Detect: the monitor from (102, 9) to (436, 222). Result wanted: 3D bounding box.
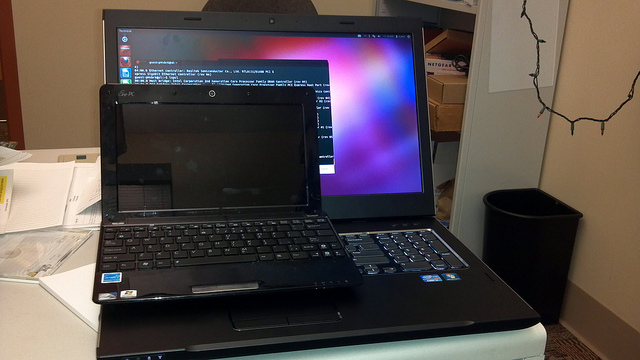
[{"bbox_3d":[-0.172,-0.168,1.216,0.754,0.422,0.015,0,2,-5],"label":"monitor"}]

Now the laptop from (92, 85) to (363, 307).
[{"bbox_3d":[-0.242,0.018,1.063,0.655,0.314,0.465,1,34,-8],"label":"laptop"}]

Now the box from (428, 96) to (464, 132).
[{"bbox_3d":[0.609,-0.317,2.126,0.180,0.094,0.160,1,14,0],"label":"box"}]

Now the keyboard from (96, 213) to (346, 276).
[{"bbox_3d":[-0.243,0.159,1.104,0.596,0.089,0.131,-2,15,-6],"label":"keyboard"}]

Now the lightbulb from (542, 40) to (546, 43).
[{"bbox_3d":[1.010,-0.625,1.981,0.013,0.011,0.045,7,16,27],"label":"lightbulb"}]

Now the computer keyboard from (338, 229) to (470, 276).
[{"bbox_3d":[0.175,0.196,1.172,0.374,0.021,0.220,-1,24,-19],"label":"computer keyboard"}]

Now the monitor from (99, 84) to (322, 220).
[{"bbox_3d":[-0.282,-0.067,1.187,0.614,0.319,0.006,-4,4,-32],"label":"monitor"}]

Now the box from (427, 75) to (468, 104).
[{"bbox_3d":[0.620,-0.434,2.176,0.193,0.099,0.175,-2,28,-7],"label":"box"}]
